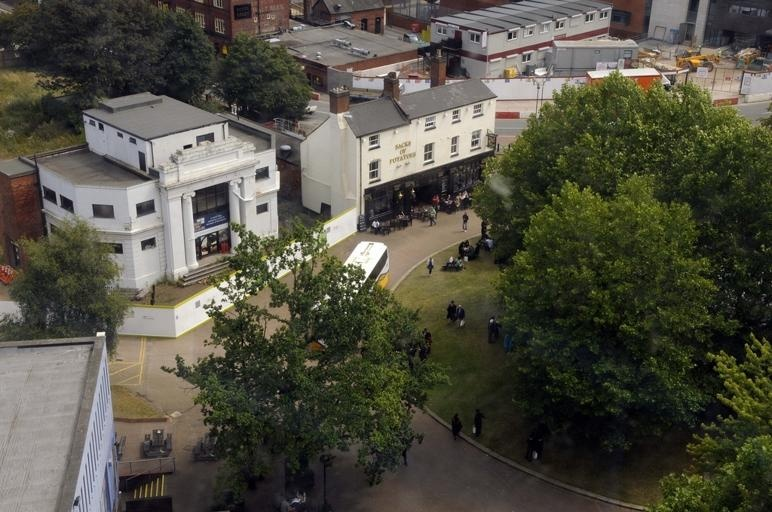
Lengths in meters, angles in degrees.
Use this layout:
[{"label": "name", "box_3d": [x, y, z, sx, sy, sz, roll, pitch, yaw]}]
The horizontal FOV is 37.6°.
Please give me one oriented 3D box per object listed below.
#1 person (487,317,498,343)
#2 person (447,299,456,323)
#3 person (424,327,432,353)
[{"label": "person", "box_3d": [9.808, 6.973, 104.140, 0.879, 2.183, 0.430, -4, 20, -3]}, {"label": "person", "box_3d": [6.199, 5.344, 107.056, 0.958, 1.785, 1.310, -2, 21, 2]}, {"label": "person", "box_3d": [3.726, 7.779, 101.902, 0.861, 2.377, 0.887, -17, 38, -18]}]
